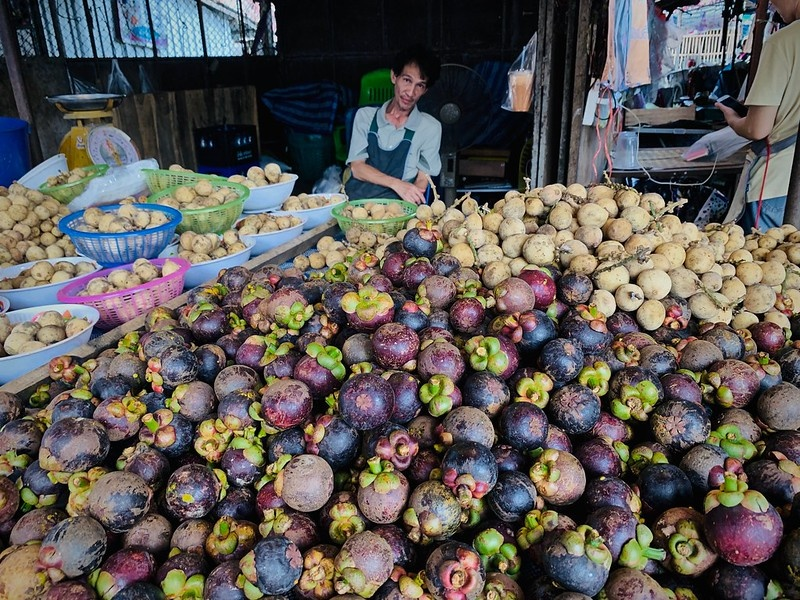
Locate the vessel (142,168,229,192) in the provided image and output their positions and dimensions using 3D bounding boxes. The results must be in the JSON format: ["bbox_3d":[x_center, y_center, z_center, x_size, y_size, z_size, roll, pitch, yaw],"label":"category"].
[{"bbox_3d":[-1.816,-0.963,5.084,0.329,0.138,0.340,8,21,21],"label":"vessel"}]

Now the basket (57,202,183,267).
[{"bbox_3d":[-1.828,-0.385,4.358,0.574,0.231,0.593,4,25,6],"label":"basket"}]

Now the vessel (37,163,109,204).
[{"bbox_3d":[-2.704,-0.914,5.262,0.512,0.193,0.497,12,40,42],"label":"vessel"}]

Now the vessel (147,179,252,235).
[{"bbox_3d":[-1.392,-0.746,4.659,0.568,0.223,0.568,-16,34,-30],"label":"vessel"}]
